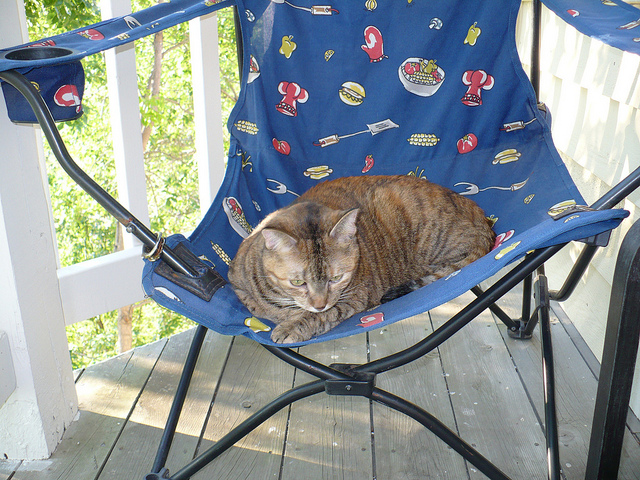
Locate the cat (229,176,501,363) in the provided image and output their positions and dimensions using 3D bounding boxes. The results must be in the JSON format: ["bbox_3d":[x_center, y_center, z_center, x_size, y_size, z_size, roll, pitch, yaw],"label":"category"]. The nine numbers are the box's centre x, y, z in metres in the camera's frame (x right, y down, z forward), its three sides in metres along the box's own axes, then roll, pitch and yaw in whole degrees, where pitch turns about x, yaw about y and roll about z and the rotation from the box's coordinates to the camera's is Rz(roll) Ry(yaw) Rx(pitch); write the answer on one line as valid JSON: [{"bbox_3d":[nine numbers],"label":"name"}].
[{"bbox_3d":[0.113,0.038,1.907,0.535,0.375,0.781,10,39,30],"label":"cat"}]
